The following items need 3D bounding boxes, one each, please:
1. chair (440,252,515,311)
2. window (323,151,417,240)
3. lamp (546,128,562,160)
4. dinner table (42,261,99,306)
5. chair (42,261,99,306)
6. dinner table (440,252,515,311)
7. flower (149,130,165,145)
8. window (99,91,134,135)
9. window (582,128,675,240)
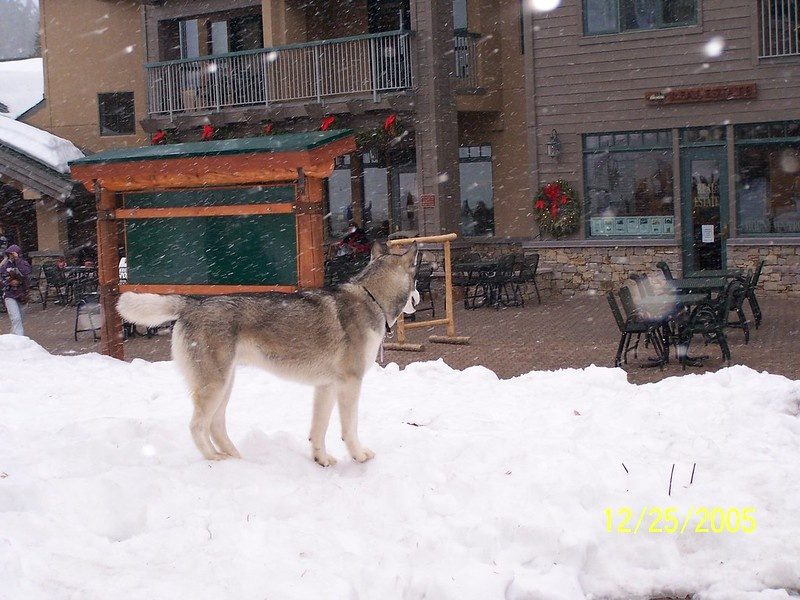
[{"bbox_3d":[1.777,-0.385,19.845,0.998,0.927,1.336,-2,0,-30],"label":"chair"},{"bbox_3d":[-0.654,-2.631,26.309,2.314,2.507,1.383,-2,-17,9],"label":"window"},{"bbox_3d":[3.390,-3.412,21.147,0.325,0.652,0.251,-2,5,12],"label":"lamp"},{"bbox_3d":[-7.696,-0.373,22.454,0.938,0.577,1.031,1,8,3],"label":"dinner table"},{"bbox_3d":[-7.696,-0.373,22.454,0.938,0.577,1.031,1,8,3],"label":"chair"},{"bbox_3d":[1.740,-0.437,20.170,1.262,1.087,2.488,-3,6,2],"label":"dinner table"},{"bbox_3d":[-5.995,-4.019,23.916,0.424,0.454,0.130,-11,-20,42],"label":"flower"},{"bbox_3d":[-8.364,-5.470,28.430,1.316,1.566,0.157,-4,-16,-13],"label":"window"},{"bbox_3d":[5.049,-2.565,20.869,2.170,2.924,0.123,1,4,23],"label":"window"}]
